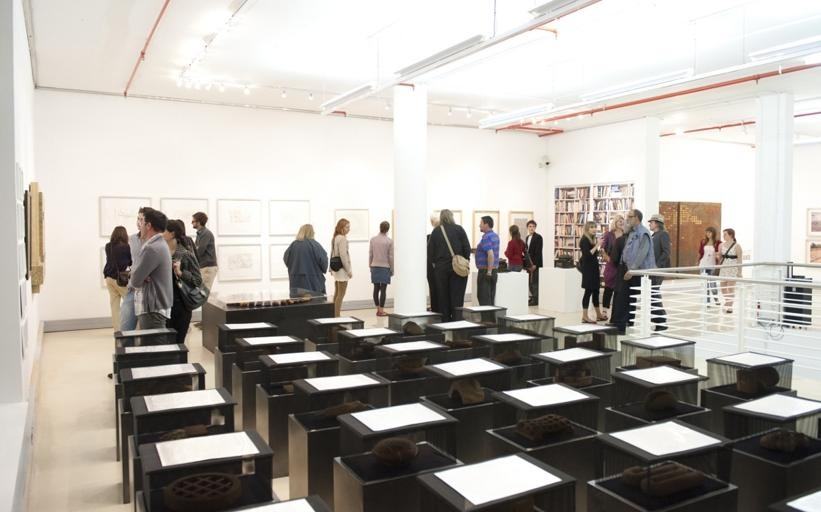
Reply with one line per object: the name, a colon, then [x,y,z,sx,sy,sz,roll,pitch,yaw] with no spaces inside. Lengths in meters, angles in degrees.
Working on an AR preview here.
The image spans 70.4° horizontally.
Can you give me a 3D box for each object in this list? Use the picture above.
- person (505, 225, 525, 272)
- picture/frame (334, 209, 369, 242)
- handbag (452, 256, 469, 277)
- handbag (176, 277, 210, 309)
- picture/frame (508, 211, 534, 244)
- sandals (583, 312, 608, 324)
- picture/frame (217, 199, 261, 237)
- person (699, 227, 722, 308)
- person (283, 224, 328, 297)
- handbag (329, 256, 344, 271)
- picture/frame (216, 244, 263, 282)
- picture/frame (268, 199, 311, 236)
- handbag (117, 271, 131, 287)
person: [2.431,-0.177,13.460,0.438,1.038,0.878,1,4,16]
picture/frame: [-1.417,-0.728,13.630,0.854,0.764,0.086,-1,5,-31]
handbag: [0.879,0.176,10.347,0.194,0.348,0.331,-10,-8,43]
handbag: [-3.047,0.528,8.056,0.323,0.430,0.150,-13,-16,-48]
picture/frame: [2.906,-0.743,15.386,0.925,1.062,0.074,-3,1,-32]
sandals: [3.946,1.297,12.395,0.576,0.233,0.199,-1,2,-4]
picture/frame: [-3.980,-0.877,13.260,0.815,0.701,0.089,-2,8,-29]
person: [7.036,0.243,13.663,0.565,1.829,0.524,2,17,31]
person: [-2.032,0.030,11.190,0.792,1.262,0.391,0,4,-2]
handbag: [-1.514,0.096,11.674,0.399,0.377,0.244,0,2,-13]
picture/frame: [-3.977,0.146,13.279,0.837,0.746,0.107,-1,0,-29]
picture/frame: [-2.876,-0.878,13.475,0.886,0.778,0.099,-3,8,-29]
handbag: [-4.658,0.362,9.421,0.269,0.268,0.134,1,10,-5]
